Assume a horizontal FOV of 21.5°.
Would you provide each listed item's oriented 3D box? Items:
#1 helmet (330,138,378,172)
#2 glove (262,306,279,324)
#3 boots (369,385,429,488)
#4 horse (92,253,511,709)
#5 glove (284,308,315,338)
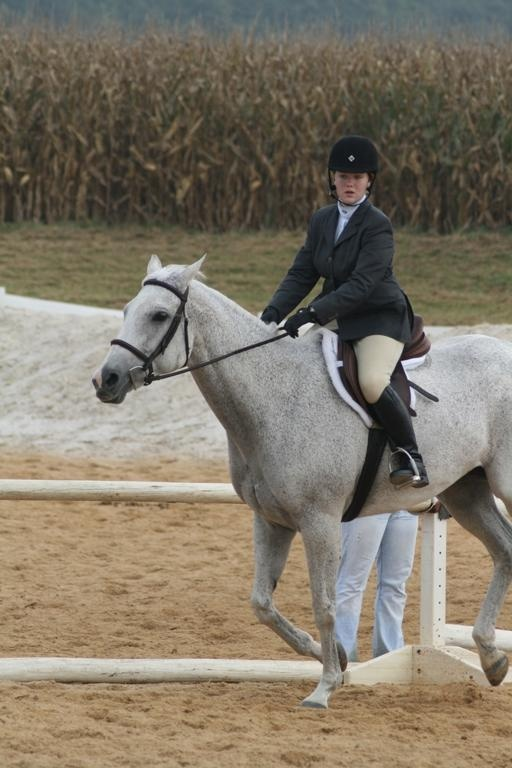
[{"bbox_3d":[0.528,-1.259,7.410,0.253,0.201,0.207,1,9,4],"label":"helmet"},{"bbox_3d":[0.073,-0.373,7.547,0.072,0.120,0.057,-15,-44,37],"label":"glove"},{"bbox_3d":[0.747,0.286,7.183,0.320,0.546,0.207,6,11,33],"label":"boots"},{"bbox_3d":[0.369,0.517,7.397,2.286,2.393,0.908,-1,9,-8],"label":"horse"},{"bbox_3d":[0.230,-0.342,7.256,0.068,0.169,0.129,43,25,-1],"label":"glove"}]
